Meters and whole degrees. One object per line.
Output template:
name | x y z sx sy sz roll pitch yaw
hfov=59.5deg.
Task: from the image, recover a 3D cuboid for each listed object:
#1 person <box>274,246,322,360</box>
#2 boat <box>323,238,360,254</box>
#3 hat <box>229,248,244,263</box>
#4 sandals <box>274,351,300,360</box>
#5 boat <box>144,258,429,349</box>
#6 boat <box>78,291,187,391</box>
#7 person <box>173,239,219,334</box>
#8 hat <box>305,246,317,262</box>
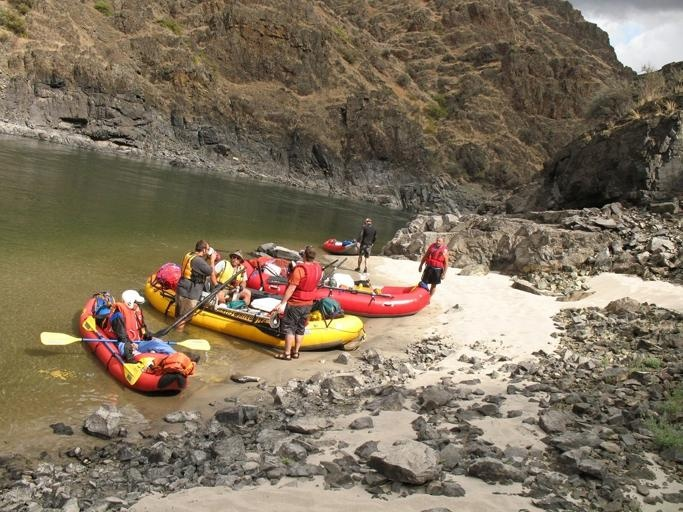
person | -1.138 1.222 15.403 0.796 3.121 0.943 16 10 7
boat | -0.093 -0.485 28.624 1.492 0.392 0.742 5 16 42
hat | -3.205 -0.054 18.474 0.634 0.243 0.543 8 -27 3
sandals | -1.444 2.639 15.722 0.524 0.103 0.246 6 0 3
boat | -2.514 1.594 16.803 6.314 0.722 3.376 5 10 16
boat | -4.947 2.011 14.418 3.578 0.926 1.709 33 23 31
person | -3.967 0.796 16.165 0.904 2.584 1.319 13 9 -12
hat | -0.764 -0.091 15.160 0.382 0.333 0.401 4 -6 -21
